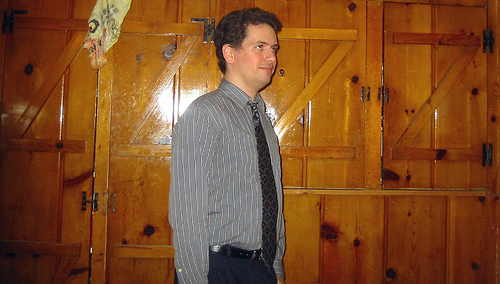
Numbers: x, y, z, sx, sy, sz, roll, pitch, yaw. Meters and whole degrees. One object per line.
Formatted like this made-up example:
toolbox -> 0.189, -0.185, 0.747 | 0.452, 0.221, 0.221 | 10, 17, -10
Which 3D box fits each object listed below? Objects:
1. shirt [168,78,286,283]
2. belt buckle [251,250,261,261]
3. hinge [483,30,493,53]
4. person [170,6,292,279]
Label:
shirt -> -0.313, 0.373, 5.290 | 0.907, 1.893, 0.443 | 2, 4, -14
belt buckle -> 0.062, 1.103, 5.303 | 0.068, 0.109, 0.102 | 2, -19, 2
hinge -> 2.747, -1.179, 6.328 | 0.114, 0.261, 0.045 | 3, 4, -10
person -> -0.172, -0.019, 5.398 | 1.174, 2.659, 0.672 | 3, 4, -10
